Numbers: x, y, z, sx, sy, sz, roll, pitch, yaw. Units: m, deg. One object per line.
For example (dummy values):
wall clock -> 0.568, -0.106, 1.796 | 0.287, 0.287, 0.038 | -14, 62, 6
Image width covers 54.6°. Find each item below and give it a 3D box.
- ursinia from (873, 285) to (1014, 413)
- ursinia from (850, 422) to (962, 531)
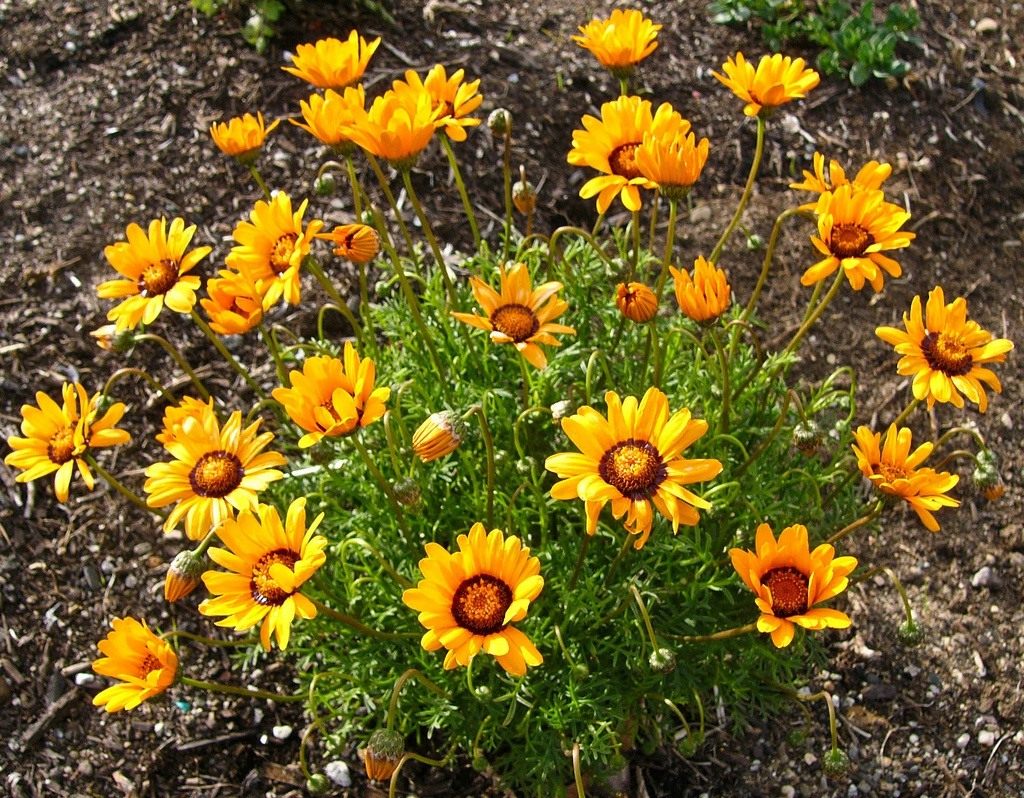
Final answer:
ursinia -> 1.681, -0.090, 4.012 | 0.497, 0.200, 0.533 | -28, 81, -6
ursinia -> 1.446, 0.334, 3.728 | 0.365, 0.162, 0.403 | 10, 44, 3
